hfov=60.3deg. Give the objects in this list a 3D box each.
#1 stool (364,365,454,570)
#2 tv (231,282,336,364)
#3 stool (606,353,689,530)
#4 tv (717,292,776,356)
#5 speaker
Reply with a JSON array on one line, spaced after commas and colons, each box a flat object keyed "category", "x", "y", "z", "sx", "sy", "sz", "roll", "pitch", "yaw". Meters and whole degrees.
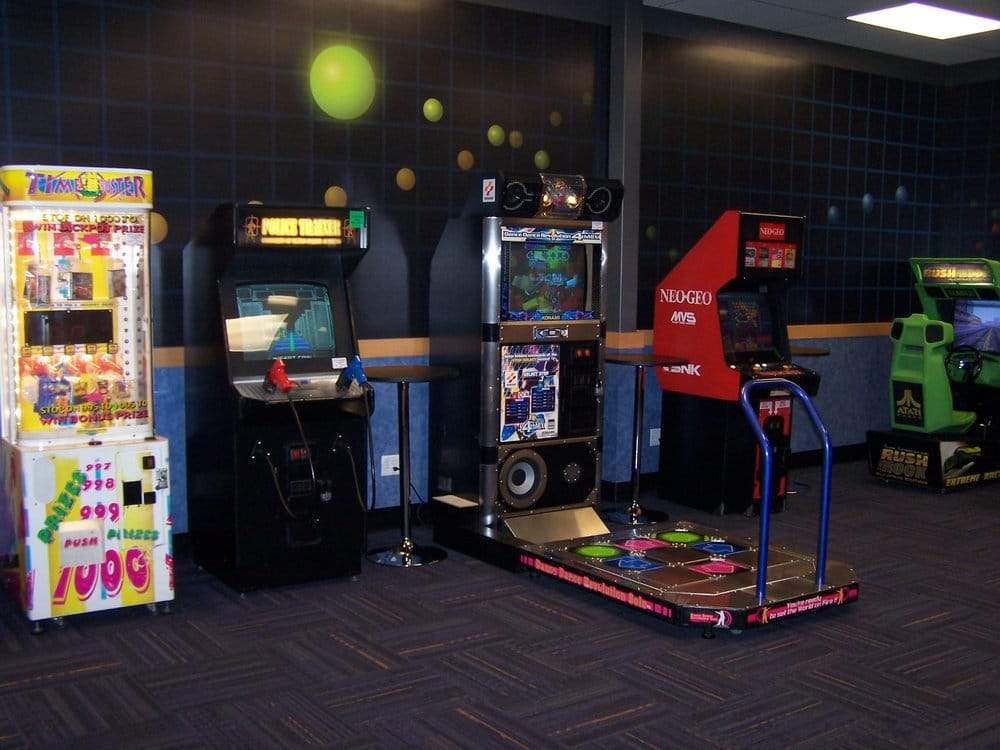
[{"category": "stool", "x": -0.571, "y": 0.523, "z": 5.307, "sx": 0.492, "sy": 1.224, "sz": 0.978, "roll": -1, "pitch": 9, "yaw": -9}, {"category": "tv", "x": -1.200, "y": -0.299, "z": 4.922, "sx": 0.676, "sy": 0.427, "sz": 0.347, "roll": -3, "pitch": 9, "yaw": -8}, {"category": "stool", "x": 1.020, "y": 0.439, "z": 6.246, "sx": 0.544, "sy": 1.194, "sz": 0.913, "roll": 2, "pitch": 9, "yaw": 7}, {"category": "tv", "x": 1.809, "y": -0.381, "z": 6.540, "sx": 0.588, "sy": 0.484, "sz": 0.199, "roll": -1, "pitch": -4, "yaw": -21}, {"category": "speaker", "x": 0.310, "y": 0.637, "z": 5.540, "sx": 0.765, "sy": 0.450, "sz": 0.417, "roll": -2, "pitch": 2, "yaw": -28}]
